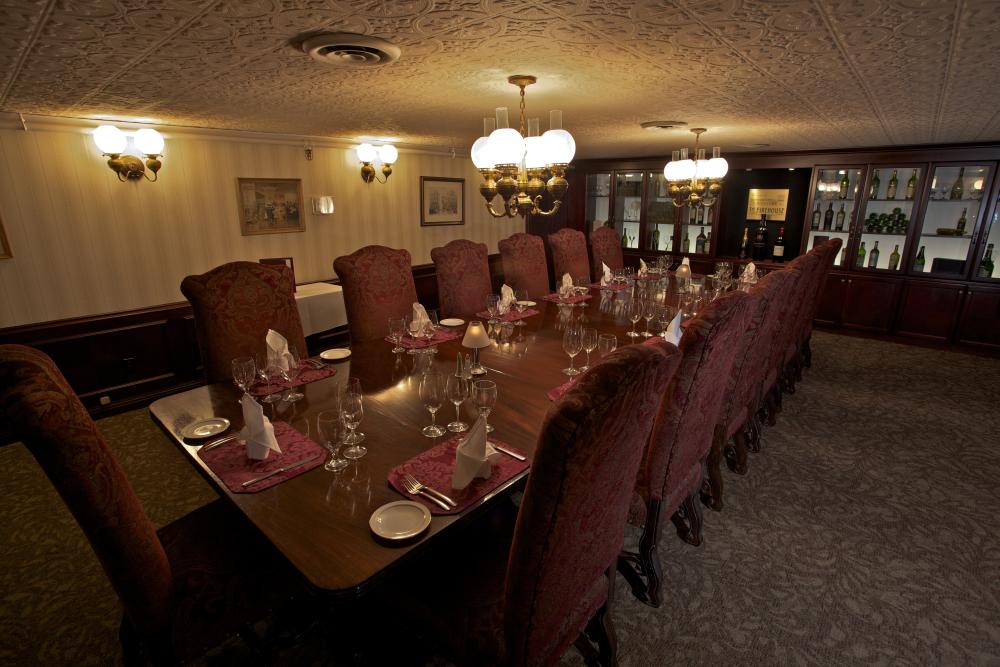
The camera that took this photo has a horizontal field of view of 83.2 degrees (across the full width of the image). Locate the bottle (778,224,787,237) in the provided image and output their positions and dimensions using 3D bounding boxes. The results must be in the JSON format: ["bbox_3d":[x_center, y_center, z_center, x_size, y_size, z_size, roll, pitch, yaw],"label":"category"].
[{"bbox_3d":[3.555,-1.309,7.136,0.094,0.169,0.091,-2,15,1],"label":"bottle"}]

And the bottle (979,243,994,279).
[{"bbox_3d":[5.117,-0.770,5.944,0.172,0.322,0.100,-16,21,-41],"label":"bottle"}]

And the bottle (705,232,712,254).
[{"bbox_3d":[2.753,-1.193,7.528,0.071,0.289,0.214,0,15,9],"label":"bottle"}]

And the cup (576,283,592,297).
[{"bbox_3d":[0.726,-0.389,5.092,0.131,0.149,0.130,-1,5,0],"label":"cup"}]

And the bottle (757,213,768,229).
[{"bbox_3d":[3.353,-1.443,7.243,0.099,0.190,0.169,4,16,23],"label":"bottle"}]

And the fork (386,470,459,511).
[{"bbox_3d":[-0.373,0.731,2.600,0.373,0.054,0.097,24,40,25],"label":"fork"}]

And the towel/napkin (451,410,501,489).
[{"bbox_3d":[-0.122,0.561,2.678,0.159,0.357,0.229,29,37,35],"label":"towel/napkin"}]

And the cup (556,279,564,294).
[{"bbox_3d":[0.514,-0.386,4.884,0.093,0.100,0.089,-2,7,0],"label":"cup"}]

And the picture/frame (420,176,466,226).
[{"bbox_3d":[-0.797,-1.739,7.344,0.027,0.551,0.703,12,17,38],"label":"picture/frame"}]

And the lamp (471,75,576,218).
[{"bbox_3d":[0.204,-1.397,4.499,0.659,0.868,1.865,-1,14,5],"label":"lamp"}]

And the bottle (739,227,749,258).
[{"bbox_3d":[3.174,-1.193,7.390,0.099,0.382,0.320,4,16,24],"label":"bottle"}]

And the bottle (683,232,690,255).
[{"bbox_3d":[2.515,-1.230,7.742,0.098,0.297,0.147,4,17,22],"label":"bottle"}]

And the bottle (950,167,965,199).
[{"bbox_3d":[4.853,-1.601,6.015,0.105,0.322,0.057,7,18,30],"label":"bottle"}]

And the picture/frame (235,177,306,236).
[{"bbox_3d":[-2.362,-1.288,5.696,0.621,0.523,0.066,-14,24,-40],"label":"picture/frame"}]

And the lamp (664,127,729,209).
[{"bbox_3d":[1.968,-1.664,5.761,0.522,0.699,1.271,2,15,18],"label":"lamp"}]

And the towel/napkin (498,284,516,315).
[{"bbox_3d":[0.074,-0.261,4.345,0.078,0.203,0.183,7,-12,-21],"label":"towel/napkin"}]

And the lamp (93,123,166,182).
[{"bbox_3d":[-3.050,-1.483,4.595,0.335,0.479,0.505,6,10,32],"label":"lamp"}]

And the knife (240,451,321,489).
[{"bbox_3d":[-1.056,0.655,2.690,0.051,0.031,0.377,28,32,37],"label":"knife"}]

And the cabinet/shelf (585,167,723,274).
[{"bbox_3d":[1.990,-1.412,7.181,1.753,1.608,0.551,9,20,30],"label":"cabinet/shelf"}]

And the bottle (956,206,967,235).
[{"bbox_3d":[4.924,-1.206,6.059,0.102,0.243,0.081,-9,17,-21],"label":"bottle"}]

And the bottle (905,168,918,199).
[{"bbox_3d":[4.505,-1.625,6.202,0.064,0.322,0.137,-6,16,-12],"label":"bottle"}]

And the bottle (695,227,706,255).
[{"bbox_3d":[2.686,-1.258,7.641,0.153,0.309,0.082,8,19,34],"label":"bottle"}]

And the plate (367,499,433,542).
[{"bbox_3d":[-0.445,0.815,2.459,0.184,0.025,0.169,-2,36,-3],"label":"plate"}]
